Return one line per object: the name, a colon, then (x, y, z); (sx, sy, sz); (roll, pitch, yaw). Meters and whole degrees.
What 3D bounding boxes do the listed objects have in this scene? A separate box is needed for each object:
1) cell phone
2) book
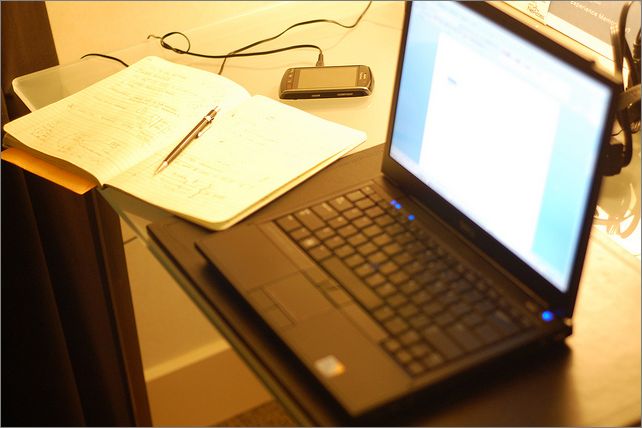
cell phone: (0.014, -0.287, 1.068); (0.164, 0.092, 0.032); (-2, -39, 3)
book: (-0.280, -0.142, 0.925); (0.349, 0.485, 0.052); (-43, -33, -40)
